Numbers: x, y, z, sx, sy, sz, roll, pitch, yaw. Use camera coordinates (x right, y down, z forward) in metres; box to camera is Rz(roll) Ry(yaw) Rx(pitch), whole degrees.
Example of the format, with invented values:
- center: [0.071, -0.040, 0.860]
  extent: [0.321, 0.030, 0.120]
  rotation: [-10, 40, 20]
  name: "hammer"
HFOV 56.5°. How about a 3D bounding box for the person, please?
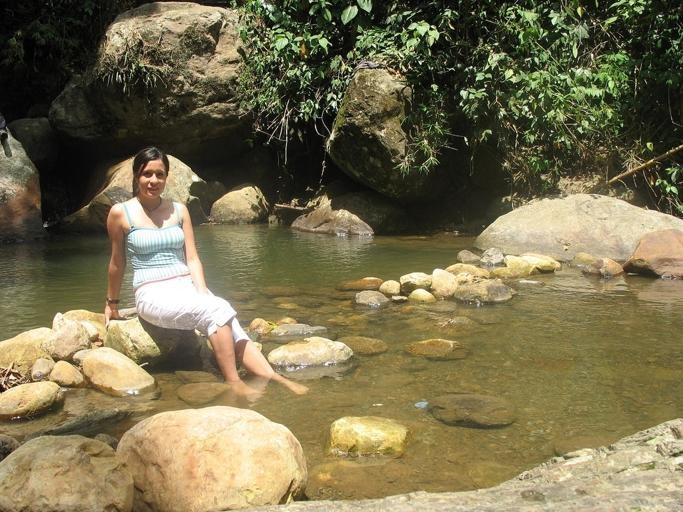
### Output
- center: [-1.389, 0.028, 5.184]
  extent: [1.362, 1.749, 0.622]
  rotation: [13, 24, 40]
  name: "person"
